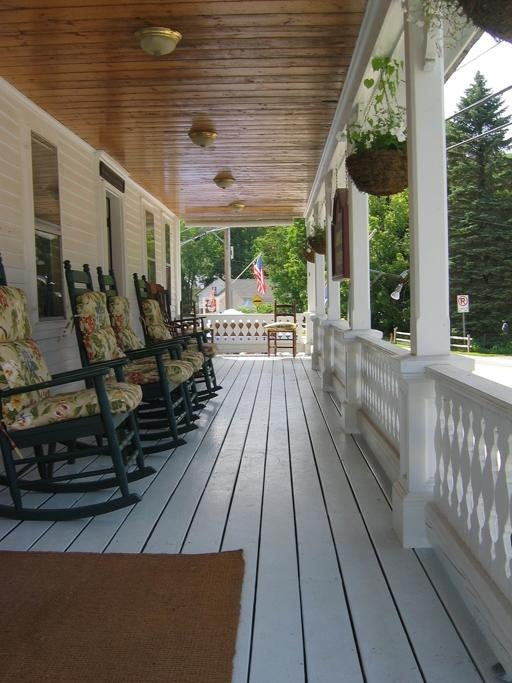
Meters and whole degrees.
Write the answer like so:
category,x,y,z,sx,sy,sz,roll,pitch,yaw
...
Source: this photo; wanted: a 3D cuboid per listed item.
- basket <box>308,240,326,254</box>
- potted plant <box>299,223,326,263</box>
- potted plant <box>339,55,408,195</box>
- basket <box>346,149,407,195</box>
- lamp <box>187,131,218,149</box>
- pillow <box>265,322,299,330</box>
category,x,y,z,sx,sy,sz,roll,pitch,yaw
basket,0.765,-1.195,6.144,0.200,0.080,0.201,2,7,11
potted plant,0.735,-1.299,6.369,0.439,0.523,0.410,-2,8,-2
potted plant,0.576,-1.032,2.321,0.329,0.611,0.317,-9,24,-9
basket,0.571,-0.757,2.305,0.251,0.156,0.251,-4,12,-9
lamp,-0.482,-1.837,4.432,0.255,0.097,0.160,-1,1,-3
pillow,0.454,-0.275,8.844,0.496,0.162,0.443,-1,1,6
